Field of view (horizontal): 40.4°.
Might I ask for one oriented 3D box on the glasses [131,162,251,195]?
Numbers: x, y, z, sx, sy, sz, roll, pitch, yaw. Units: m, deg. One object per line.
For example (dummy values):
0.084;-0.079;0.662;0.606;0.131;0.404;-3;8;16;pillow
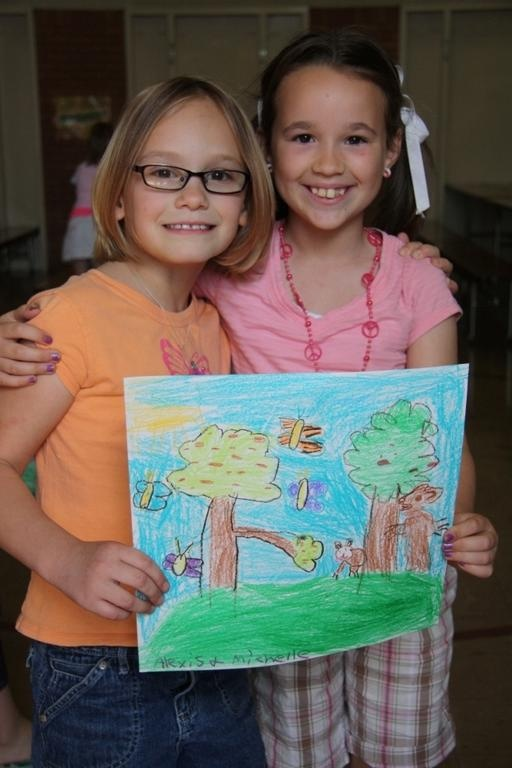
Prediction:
-0.086;-0.272;0.932;0.150;0.041;0.067;-3;15;-8;glasses
